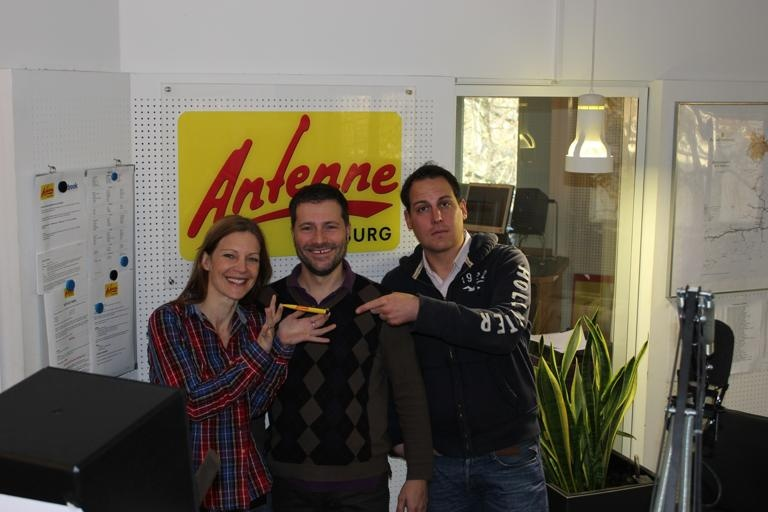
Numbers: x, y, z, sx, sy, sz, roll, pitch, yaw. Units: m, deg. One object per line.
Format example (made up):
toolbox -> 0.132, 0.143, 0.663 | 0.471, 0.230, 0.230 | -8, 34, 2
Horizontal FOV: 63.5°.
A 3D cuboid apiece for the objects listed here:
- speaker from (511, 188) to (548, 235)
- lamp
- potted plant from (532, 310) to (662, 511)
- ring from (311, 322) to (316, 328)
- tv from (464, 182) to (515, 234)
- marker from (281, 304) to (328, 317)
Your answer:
speaker -> 0.931, -0.311, 4.056 | 0.208, 0.426, 0.218 | 8, 8, 19
lamp -> 1.257, -1.045, 3.815 | 0.264, 1.083, 0.482 | 1, 7, 16
potted plant -> 1.233, 0.882, 3.776 | 0.633, 1.028, 0.874 | 1, 8, 15
ring -> -0.310, 0.292, 2.685 | 0.017, 0.025, 0.005 | 0, 7, -30
tv -> 0.654, -0.326, 3.972 | 0.311, 0.335, 0.033 | 0, 10, -6
marker -> -0.356, 0.238, 2.748 | 0.187, 0.049, 0.032 | 6, -16, 4
